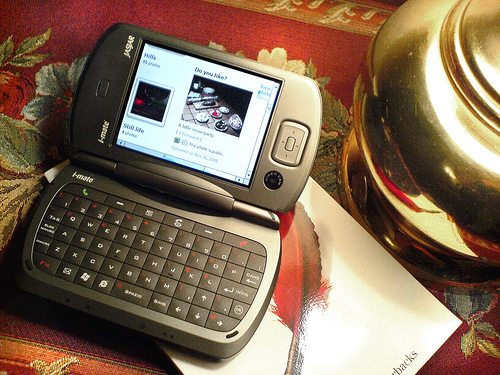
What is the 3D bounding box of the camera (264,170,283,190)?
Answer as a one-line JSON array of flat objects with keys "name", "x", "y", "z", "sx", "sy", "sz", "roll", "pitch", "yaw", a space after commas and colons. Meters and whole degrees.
[{"name": "camera", "x": 0.032, "y": -0.010, "z": 0.623, "sx": 0.025, "sy": 0.020, "sz": 0.017, "roll": 14, "pitch": 44, "yaw": 1}]
